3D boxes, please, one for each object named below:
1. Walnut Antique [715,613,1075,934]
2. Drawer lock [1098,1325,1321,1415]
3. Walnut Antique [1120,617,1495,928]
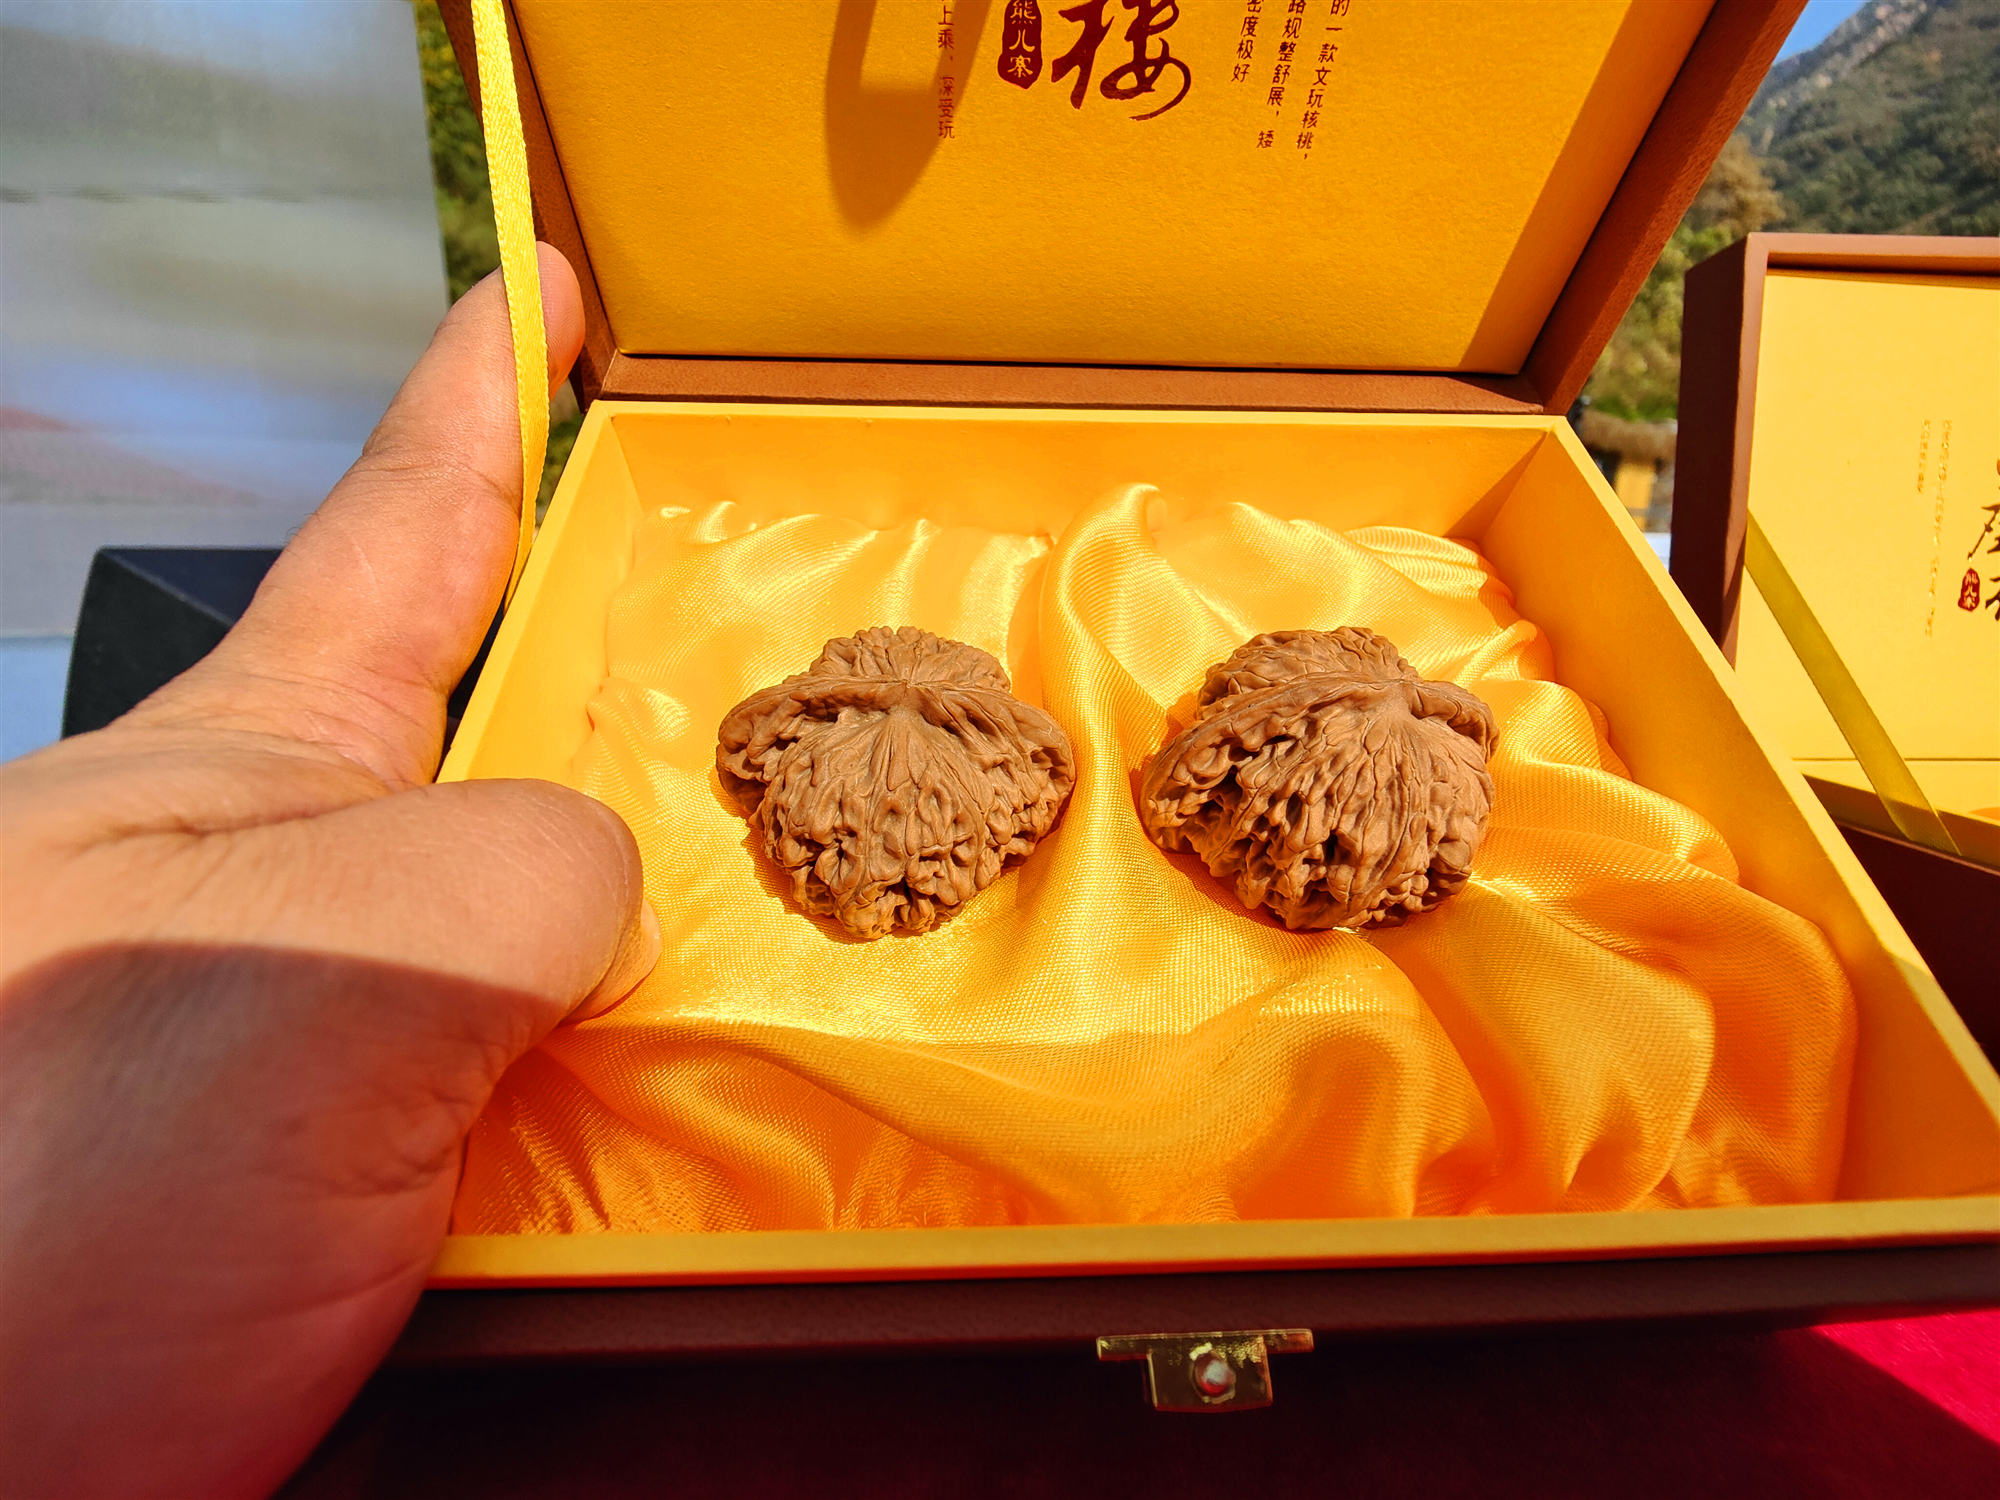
[{"bbox_3d":[-0.127,0.011,1.825,0.368,0.235,0.450,-13,46,-23],"label":"Walnut Antique"},{"bbox_3d":[0.180,0.551,1.388,0.192,0.054,0.053,-3,51,-1],"label":"Drawer lock"},{"bbox_3d":[0.352,0.039,1.705,0.454,0.471,0.232,2,19,4],"label":"Walnut Antique"}]
